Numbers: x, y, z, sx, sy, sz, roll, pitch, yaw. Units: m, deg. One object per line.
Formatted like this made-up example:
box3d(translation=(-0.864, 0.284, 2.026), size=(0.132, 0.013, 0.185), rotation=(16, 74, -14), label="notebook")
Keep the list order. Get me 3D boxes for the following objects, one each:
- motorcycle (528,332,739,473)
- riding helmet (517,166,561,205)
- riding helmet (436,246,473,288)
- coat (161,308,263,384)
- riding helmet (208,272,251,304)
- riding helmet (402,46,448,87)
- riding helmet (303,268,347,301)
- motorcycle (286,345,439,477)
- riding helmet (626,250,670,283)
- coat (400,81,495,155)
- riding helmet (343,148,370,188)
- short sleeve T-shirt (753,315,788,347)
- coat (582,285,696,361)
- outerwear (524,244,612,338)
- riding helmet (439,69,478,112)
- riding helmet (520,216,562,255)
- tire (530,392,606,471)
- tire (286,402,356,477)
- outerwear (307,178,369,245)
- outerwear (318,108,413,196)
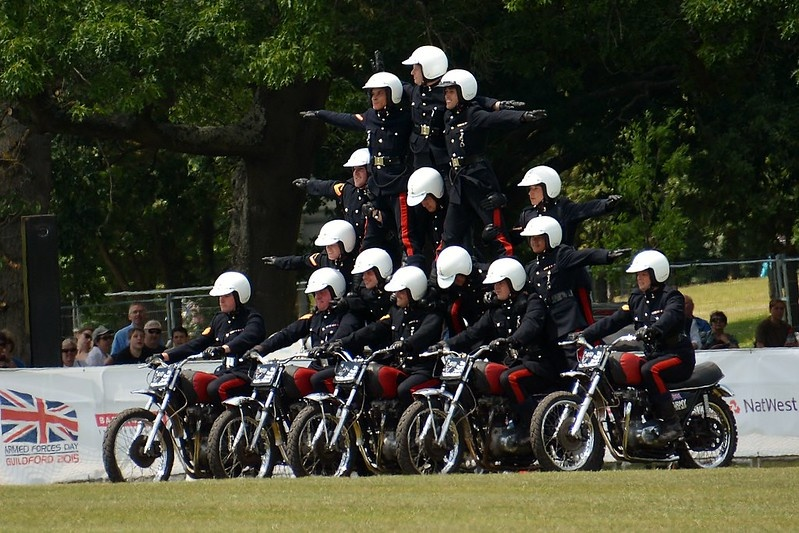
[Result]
box3d(translation=(4.313, 2.529, 34.650), size=(4.199, 2.360, 1.844), rotation=(1, -5, -22), label="motorcycle")
box3d(translation=(2.643, -1.546, 36.167), size=(0.682, 0.552, 0.545), rotation=(-26, 11, -14), label="riding helmet")
box3d(translation=(0.948, -0.023, 35.409), size=(0.739, 0.394, 0.524), rotation=(-46, 42, -19), label="riding helmet")
box3d(translation=(-3.516, 1.419, 36.092), size=(1.885, 0.798, 2.250), rotation=(-9, 3, 4), label="coat")
box3d(translation=(-3.118, 0.374, 36.534), size=(0.691, 0.533, 0.515), rotation=(-16, 19, -40), label="riding helmet")
box3d(translation=(0.514, -3.887, 37.079), size=(0.740, 0.623, 0.546), rotation=(-4, 7, -8), label="riding helmet")
box3d(translation=(-1.367, 0.310, 36.252), size=(0.664, 0.556, 0.476), rotation=(-30, 18, -33), label="riding helmet")
box3d(translation=(-0.554, 2.643, 34.778), size=(3.923, 2.455, 1.991), rotation=(3, -6, -33), label="motorcycle")
box3d(translation=(4.468, -0.018, 35.201), size=(0.610, 0.579, 0.689), rotation=(-11, -1, 22), label="riding helmet")
box3d(translation=(0.463, -2.836, 37.218), size=(2.459, 1.490, 0.648), rotation=(5, 3, -27), label="coat")
box3d(translation=(-0.741, -1.959, 37.927), size=(0.541, 0.723, 0.704), rotation=(8, 18, 34), label="riding helmet")
box3d(translation=(7.483, 1.402, 39.409), size=(0.833, 0.703, 0.498), rotation=(1, -8, -4), label="short sleeve T-shirt")
box3d(translation=(4.312, 1.090, 34.689), size=(2.084, 1.397, 1.783), rotation=(2, 0, -17), label="coat")
box3d(translation=(3.071, 0.487, 35.706), size=(1.483, 1.539, 0.445), rotation=(-19, -16, 23), label="outerwear")
box3d(translation=(1.161, -3.398, 36.771), size=(0.678, 0.550, 0.501), rotation=(-19, 8, -22), label="riding helmet")
box3d(translation=(2.663, -0.607, 35.285), size=(0.655, 0.558, 0.503), rotation=(-29, 17, -17), label="riding helmet")
box3d(translation=(2.916, 2.877, 33.931), size=(1.239, 1.380, 0.575), rotation=(-3, -5, 4), label="tire")
box3d(translation=(-1.378, 3.065, 34.653), size=(1.230, 1.316, 0.520), rotation=(-2, -5, -4), label="tire")
box3d(translation=(-1.249, -1.188, 40.673), size=(0.505, 1.894, 1.826), rotation=(5, -2, -37), label="outerwear")
box3d(translation=(-0.620, -2.340, 39.164), size=(2.331, 1.654, 0.580), rotation=(0, -1, 18), label="outerwear")
